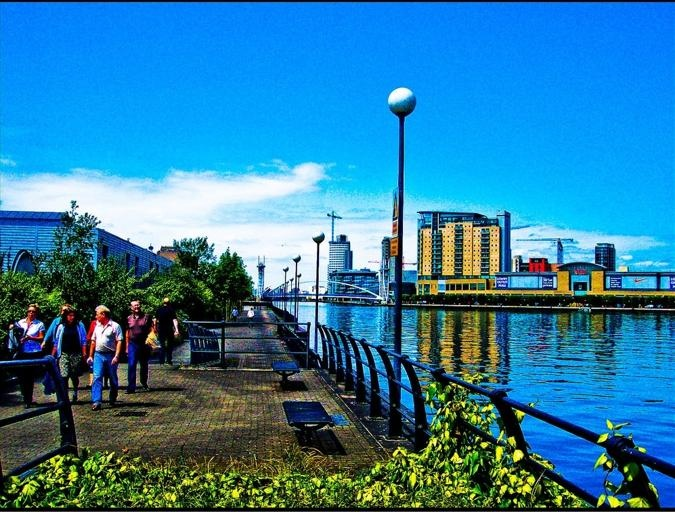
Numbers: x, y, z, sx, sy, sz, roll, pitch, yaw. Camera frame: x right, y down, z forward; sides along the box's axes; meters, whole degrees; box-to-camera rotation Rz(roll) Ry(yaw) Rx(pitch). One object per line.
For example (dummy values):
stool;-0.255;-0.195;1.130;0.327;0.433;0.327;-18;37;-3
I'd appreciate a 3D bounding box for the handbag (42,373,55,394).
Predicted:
handbag;-2.926;1.294;7.030;0.078;0.224;0.163;-1;-1;10

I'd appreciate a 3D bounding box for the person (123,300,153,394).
person;-4.302;1.942;15.073;0.512;1.966;0.948;-1;-1;-16

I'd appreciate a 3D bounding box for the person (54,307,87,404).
person;-5.003;1.863;12.950;0.501;1.848;0.692;-1;-1;23

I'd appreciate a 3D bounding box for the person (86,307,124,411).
person;-4.344;1.876;13.030;0.613;1.883;0.553;-1;-1;-30

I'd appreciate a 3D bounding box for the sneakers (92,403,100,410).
sneakers;-4.424;2.742;12.754;0.089;0.079;0.191;3;3;-6
